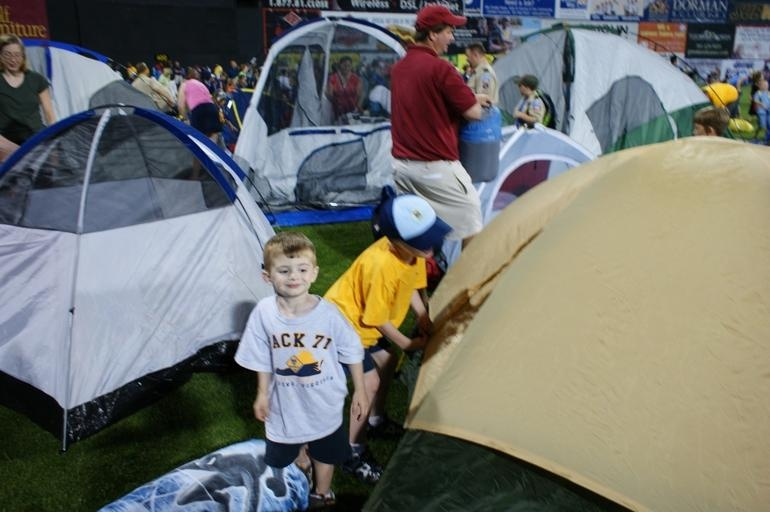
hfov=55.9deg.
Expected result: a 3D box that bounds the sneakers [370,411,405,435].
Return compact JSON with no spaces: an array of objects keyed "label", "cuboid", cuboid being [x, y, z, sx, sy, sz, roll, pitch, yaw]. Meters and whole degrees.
[{"label":"sneakers","cuboid":[0.005,1.119,4.751,0.121,0.074,0.177,0,8,-34]}]

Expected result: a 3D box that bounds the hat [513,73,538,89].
[{"label":"hat","cuboid":[1.559,-1.882,7.864,0.191,0.149,0.108,-2,16,-10]}]

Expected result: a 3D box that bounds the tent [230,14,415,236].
[{"label":"tent","cuboid":[-0.786,-1.516,9.142,2.113,2.654,2.407,-2,22,-9]}]

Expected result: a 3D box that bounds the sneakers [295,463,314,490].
[{"label":"sneakers","cuboid":[-0.495,1.348,4.475,0.090,0.209,0.142,-5,3,-5]}]

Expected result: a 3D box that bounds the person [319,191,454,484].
[{"label":"person","cuboid":[0.043,0.554,4.432,0.694,1.953,0.736,7,34,-11]}]

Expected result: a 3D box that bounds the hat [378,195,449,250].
[{"label":"hat","cuboid":[0.187,-0.128,4.309,0.353,0.216,0.281,27,61,28]}]

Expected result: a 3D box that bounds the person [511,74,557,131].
[{"label":"person","cuboid":[1.629,-1.607,8.018,0.355,0.780,0.443,-1,34,7]}]

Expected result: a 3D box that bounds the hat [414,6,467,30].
[{"label":"hat","cuboid":[0.461,-1.885,5.716,0.343,0.181,0.499,6,18,16]}]

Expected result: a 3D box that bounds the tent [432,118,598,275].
[{"label":"tent","cuboid":[1.168,-0.638,6.792,1.117,1.136,1.280,-17,43,-5]}]
